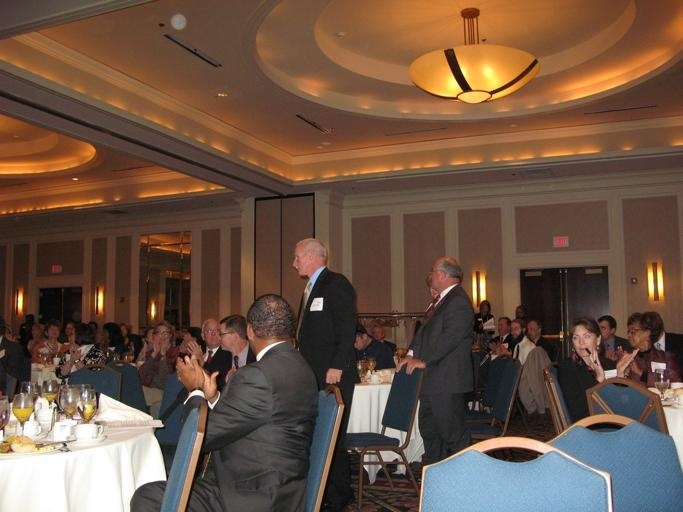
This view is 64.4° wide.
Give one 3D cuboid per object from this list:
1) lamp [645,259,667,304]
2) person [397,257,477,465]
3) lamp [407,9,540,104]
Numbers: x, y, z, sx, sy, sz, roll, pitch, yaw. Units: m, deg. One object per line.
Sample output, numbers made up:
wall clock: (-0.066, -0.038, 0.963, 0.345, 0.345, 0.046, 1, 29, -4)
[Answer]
lamp: (5.242, 0.410, 9.058, 0.257, 0.679, 0.102, -5, -9, 33)
person: (0.765, 0.829, 4.387, 0.534, 1.686, 0.523, 4, -9, -32)
lamp: (1.469, -2.192, 6.082, 1.390, 0.589, 0.747, -2, -8, 7)
